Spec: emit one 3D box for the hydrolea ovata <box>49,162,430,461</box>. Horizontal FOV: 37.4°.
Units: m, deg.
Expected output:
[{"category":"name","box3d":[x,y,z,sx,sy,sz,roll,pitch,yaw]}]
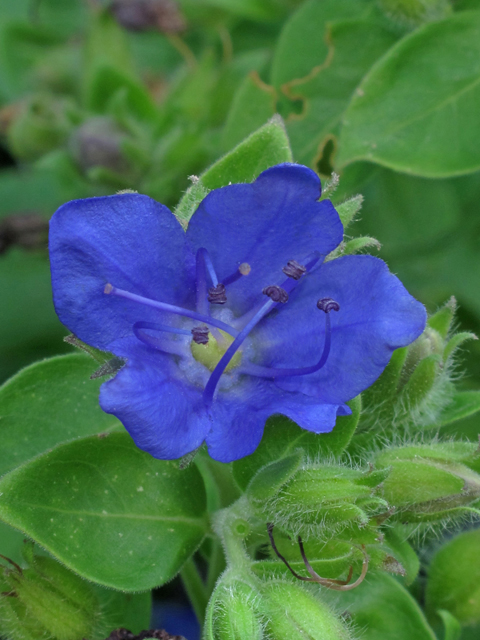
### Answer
[{"category":"hydrolea ovata","box3d":[-0.012,0.000,1.146,0.466,0.316,0.437,-23,78,-7]}]
